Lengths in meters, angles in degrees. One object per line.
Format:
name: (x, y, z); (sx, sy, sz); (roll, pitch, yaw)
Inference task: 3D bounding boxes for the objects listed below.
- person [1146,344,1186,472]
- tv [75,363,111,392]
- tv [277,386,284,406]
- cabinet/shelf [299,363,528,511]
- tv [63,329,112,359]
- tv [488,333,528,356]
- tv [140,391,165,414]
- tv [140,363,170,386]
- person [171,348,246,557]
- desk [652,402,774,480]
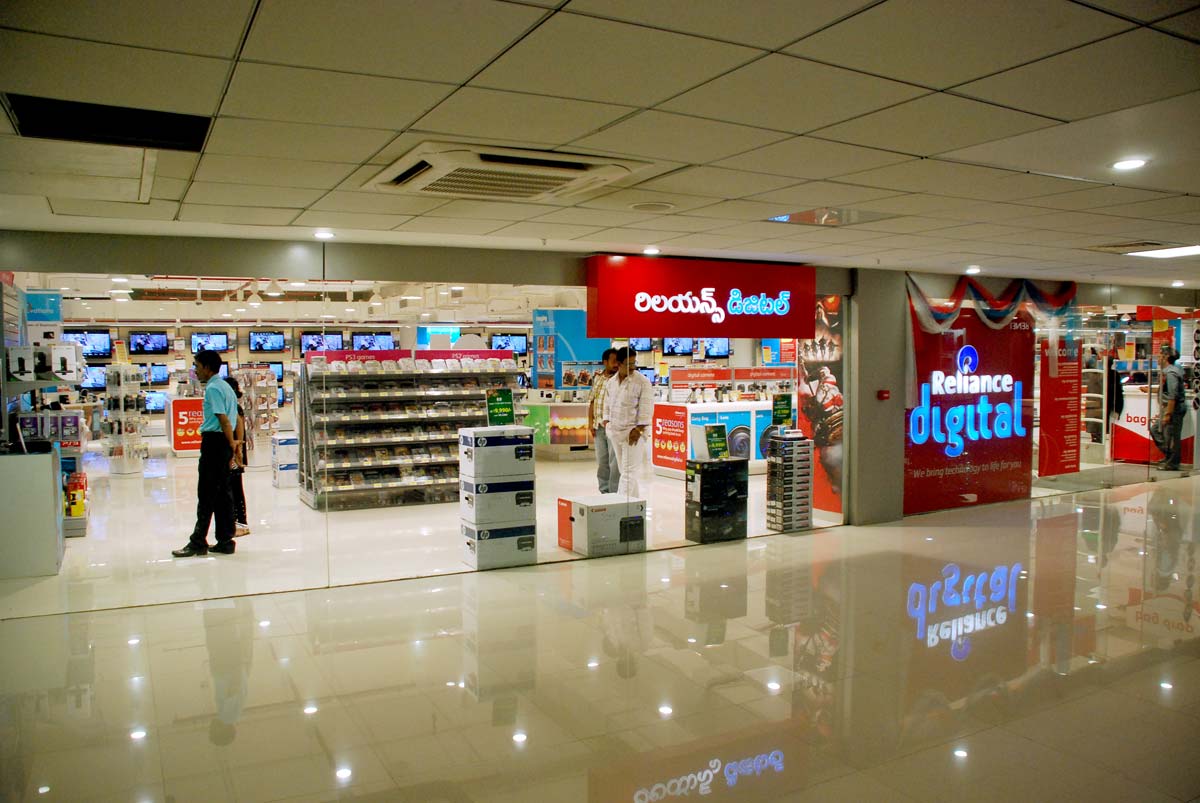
person: (9.947, 0.136, 13.858); (0.499, 2.144, 0.623); (4, 7, 34)
tv: (-13.101, -0.601, 20.518); (0.385, 0.624, 1.036); (-2, 7, -21)
tv: (-8.088, -0.130, 20.059); (0.093, 0.521, 1.009); (-3, 7, -26)
cabinet/shelf: (-2.623, 0.502, 10.399); (2.015, 1.347, 0.675); (-2, 6, -23)
tv: (-11.251, -1.279, 17.356); (1.197, 0.797, 0.164); (-1, -1, -45)
tv: (-2.999, -1.872, 25.750); (1.570, 0.674, 0.761); (-3, 7, -28)
tv: (-11.440, 0.011, 20.203); (0.650, 0.589, 0.341); (-2, 6, -35)
tv: (-11.996, -0.748, 21.259); (0.596, 0.484, 0.082); (-4, 7, -29)
person: (-4.213, 0.539, 8.532); (0.584, 2.174, 0.662); (-3, 7, -28)
desk: (2.075, 0.671, 14.100); (2.215, 1.186, 1.174); (-1, 1, -32)
